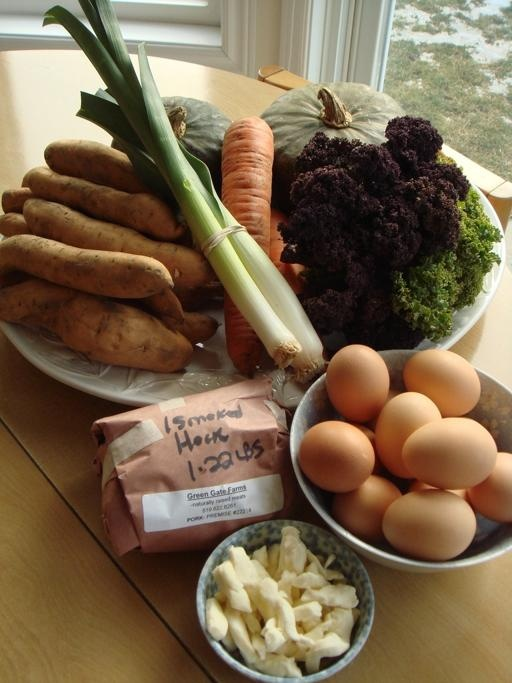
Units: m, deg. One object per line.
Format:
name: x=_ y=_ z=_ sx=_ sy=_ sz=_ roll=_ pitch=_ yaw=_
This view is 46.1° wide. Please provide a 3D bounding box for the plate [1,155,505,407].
plate: x=-0.005 y=-0.064 z=0.869 sx=0.483 sy=0.243 sz=0.489 roll=-1 pitch=40 yaw=-3
